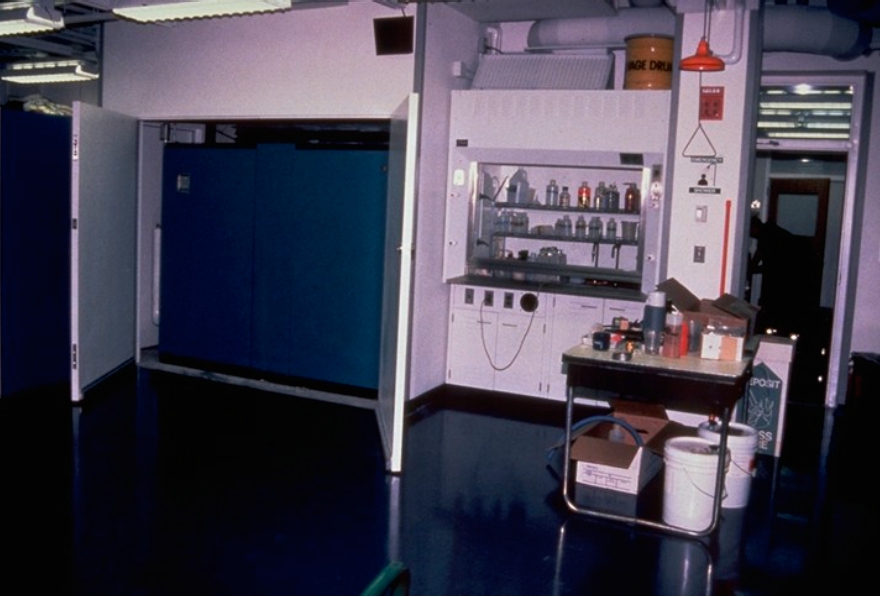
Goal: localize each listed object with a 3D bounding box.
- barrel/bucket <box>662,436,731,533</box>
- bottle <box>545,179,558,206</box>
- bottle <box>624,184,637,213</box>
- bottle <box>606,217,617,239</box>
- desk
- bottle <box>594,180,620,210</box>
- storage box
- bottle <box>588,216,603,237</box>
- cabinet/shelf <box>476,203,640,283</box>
[{"bbox_3d":[2.038,1.420,5.871,0.539,0.752,0.558,-1,6,0],"label":"barrel/bucket"},{"bbox_3d":[1.246,-1.185,8.033,0.144,0.258,0.189,3,10,8],"label":"bottle"},{"bbox_3d":[2.022,-1.057,7.683,0.151,0.291,0.196,5,10,15],"label":"bottle"},{"bbox_3d":[1.865,-0.780,7.905,0.117,0.187,0.119,2,10,0],"label":"bottle"},{"bbox_3d":[1.677,0.935,5.737,1.277,1.480,1.730,5,7,25],"label":"desk"},{"bbox_3d":[1.791,-1.095,7.809,0.335,0.354,0.200,1,3,25],"label":"bottle"},{"bbox_3d":[1.395,1.282,6.215,0.733,0.295,0.814,2,10,27],"label":"storage box"},{"bbox_3d":[1.696,-0.795,7.920,0.163,0.214,0.184,4,10,11],"label":"bottle"},{"bbox_3d":[1.265,-0.596,7.896,1.809,0.822,0.586,6,11,17],"label":"cabinet/shelf"}]
